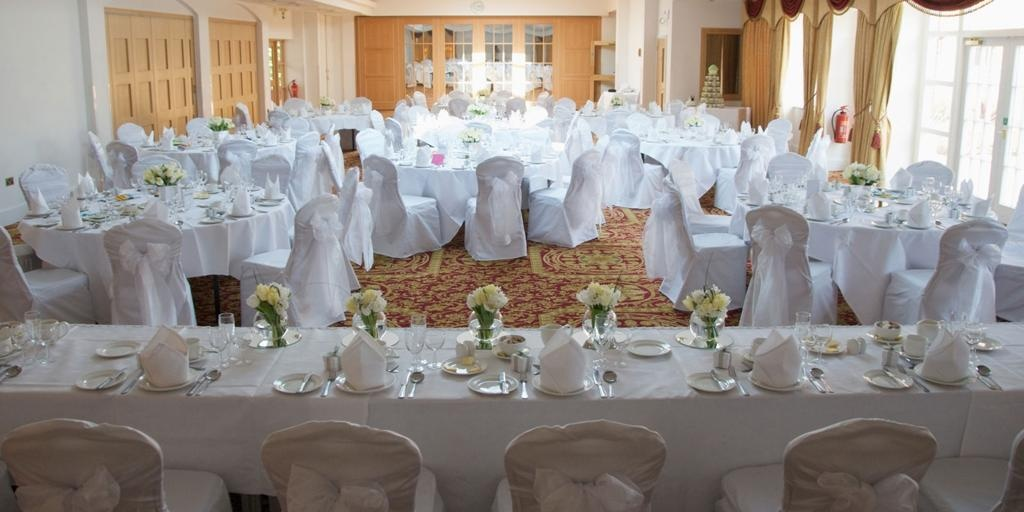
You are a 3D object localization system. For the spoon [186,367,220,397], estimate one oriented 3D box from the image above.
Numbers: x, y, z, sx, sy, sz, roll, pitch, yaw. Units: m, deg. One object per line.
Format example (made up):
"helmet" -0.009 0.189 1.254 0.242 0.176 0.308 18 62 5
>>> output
"spoon" -2.302 0.943 4.754 0.095 0.035 0.251 -4 21 8

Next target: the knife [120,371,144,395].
"knife" -2.833 0.944 4.758 0.056 0.015 0.320 1 12 -14

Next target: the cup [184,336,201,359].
"cup" -2.479 0.723 4.969 0.160 0.120 0.118 0 5 -33
